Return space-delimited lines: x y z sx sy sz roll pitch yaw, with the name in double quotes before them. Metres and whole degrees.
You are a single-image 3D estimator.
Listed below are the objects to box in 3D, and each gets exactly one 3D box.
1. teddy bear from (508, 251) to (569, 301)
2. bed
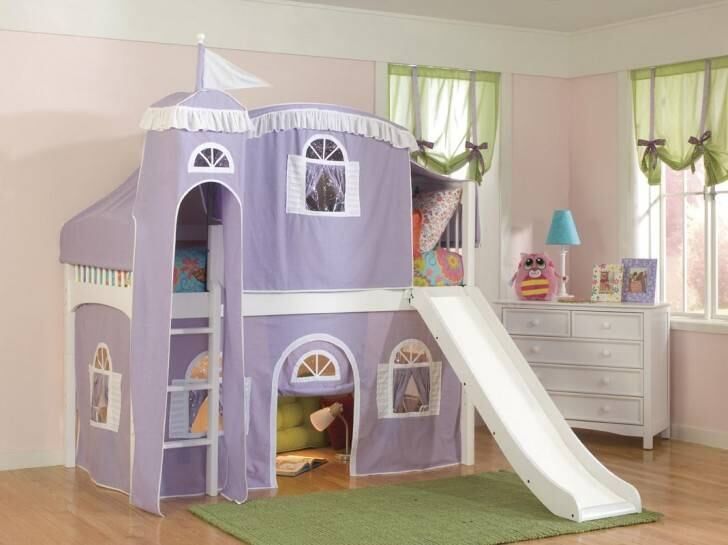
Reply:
"teddy bear" 1.444 0.049 6.349 0.438 0.433 0.230 -1 -3 13
"bed" -0.775 -0.031 5.949 2.334 2.874 3.030 9 9 43
